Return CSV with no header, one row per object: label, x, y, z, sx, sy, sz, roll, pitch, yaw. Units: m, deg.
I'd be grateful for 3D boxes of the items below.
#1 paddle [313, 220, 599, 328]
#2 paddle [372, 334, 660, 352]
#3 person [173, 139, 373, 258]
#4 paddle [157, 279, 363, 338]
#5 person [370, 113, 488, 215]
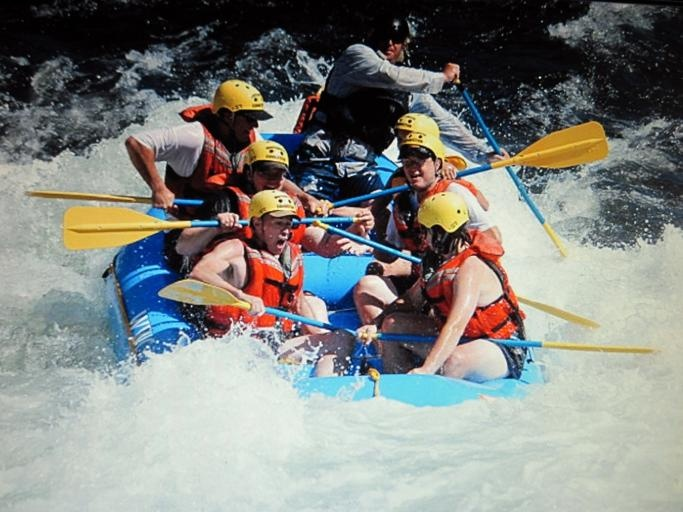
paddle,0.923,0.189,7.637,2.454,0.249,0.180,19,64,9
paddle,1.362,0.721,7.088,1.836,0.172,0.072,2,56,-4
person,-0.629,-0.465,7.464,1.528,0.597,1.104,10,17,34
paddle,-0.738,0.441,7.074,1.617,0.208,0.111,12,29,-18
person,0.824,-0.801,8.113,0.823,0.526,1.213,22,-11,31
